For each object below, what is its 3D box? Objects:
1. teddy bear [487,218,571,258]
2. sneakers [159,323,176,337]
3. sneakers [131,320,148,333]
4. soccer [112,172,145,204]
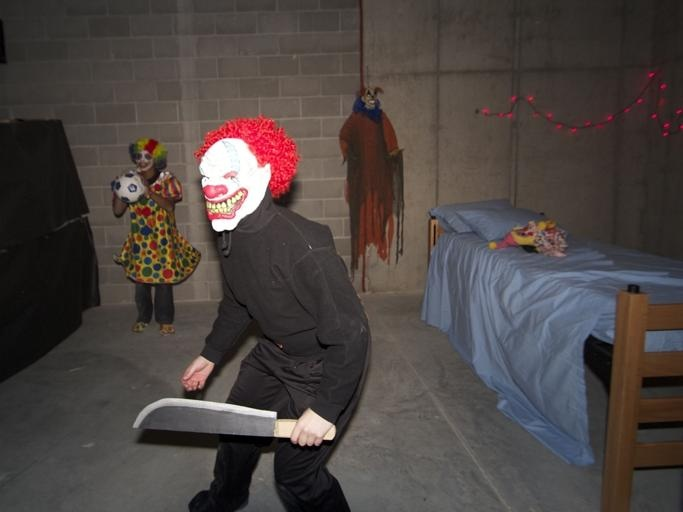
[{"bbox_3d":[1.557,-0.139,4.412,0.411,0.228,0.369,-7,29,16],"label":"teddy bear"},{"bbox_3d":[-1.666,0.695,5.214,0.140,0.084,0.207,-5,14,-20],"label":"sneakers"},{"bbox_3d":[-1.944,0.688,5.231,0.077,0.063,0.147,3,19,-7],"label":"sneakers"},{"bbox_3d":[-1.961,-0.606,4.990,0.313,0.282,0.172,0,13,-2],"label":"soccer"}]
